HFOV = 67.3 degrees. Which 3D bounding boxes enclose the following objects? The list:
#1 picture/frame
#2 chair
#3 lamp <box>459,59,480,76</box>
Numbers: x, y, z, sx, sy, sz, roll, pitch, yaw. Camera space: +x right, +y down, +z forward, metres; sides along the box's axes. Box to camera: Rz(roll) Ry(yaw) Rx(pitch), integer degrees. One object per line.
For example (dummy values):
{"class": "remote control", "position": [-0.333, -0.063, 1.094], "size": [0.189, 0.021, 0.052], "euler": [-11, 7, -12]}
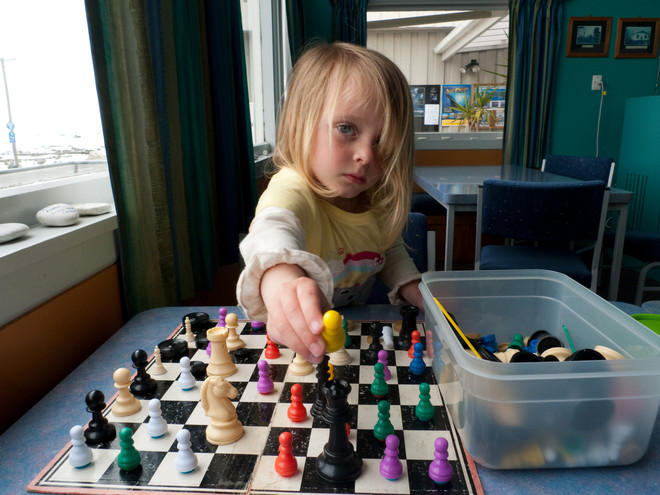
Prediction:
{"class": "picture/frame", "position": [2.269, -1.680, 3.972], "size": [0.741, 0.327, 0.082], "euler": [-2, 20, 0]}
{"class": "chair", "position": [0.962, -0.344, 2.805], "size": [0.918, 0.696, 1.085], "euler": [2, 23, 7]}
{"class": "lamp", "position": [1.490, -1.879, 5.209], "size": [0.159, 0.152, 0.251], "euler": [20, 33, 37]}
